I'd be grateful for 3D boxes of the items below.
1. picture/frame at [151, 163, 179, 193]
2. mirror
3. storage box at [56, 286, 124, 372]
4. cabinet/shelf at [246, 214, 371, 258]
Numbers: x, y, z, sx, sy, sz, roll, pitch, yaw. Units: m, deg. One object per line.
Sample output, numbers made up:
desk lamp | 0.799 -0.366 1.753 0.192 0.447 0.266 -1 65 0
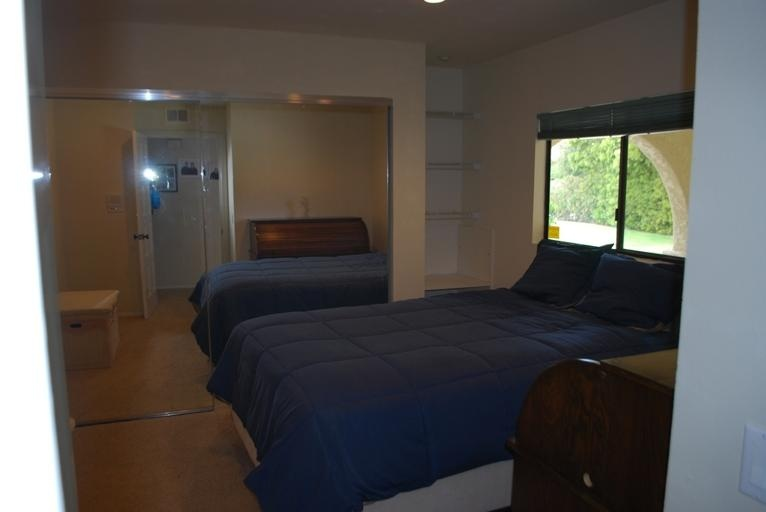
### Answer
picture/frame | -1.553 -0.563 3.943 0.201 0.234 0.015 -2 9 -36
mirror | -1.168 0.021 3.722 2.239 2.182 0.157 -4 8 -30
storage box | -1.957 0.473 3.741 0.367 0.516 0.263 -6 13 -23
cabinet/shelf | -0.626 -0.147 4.426 0.842 0.340 0.329 -4 12 -21
